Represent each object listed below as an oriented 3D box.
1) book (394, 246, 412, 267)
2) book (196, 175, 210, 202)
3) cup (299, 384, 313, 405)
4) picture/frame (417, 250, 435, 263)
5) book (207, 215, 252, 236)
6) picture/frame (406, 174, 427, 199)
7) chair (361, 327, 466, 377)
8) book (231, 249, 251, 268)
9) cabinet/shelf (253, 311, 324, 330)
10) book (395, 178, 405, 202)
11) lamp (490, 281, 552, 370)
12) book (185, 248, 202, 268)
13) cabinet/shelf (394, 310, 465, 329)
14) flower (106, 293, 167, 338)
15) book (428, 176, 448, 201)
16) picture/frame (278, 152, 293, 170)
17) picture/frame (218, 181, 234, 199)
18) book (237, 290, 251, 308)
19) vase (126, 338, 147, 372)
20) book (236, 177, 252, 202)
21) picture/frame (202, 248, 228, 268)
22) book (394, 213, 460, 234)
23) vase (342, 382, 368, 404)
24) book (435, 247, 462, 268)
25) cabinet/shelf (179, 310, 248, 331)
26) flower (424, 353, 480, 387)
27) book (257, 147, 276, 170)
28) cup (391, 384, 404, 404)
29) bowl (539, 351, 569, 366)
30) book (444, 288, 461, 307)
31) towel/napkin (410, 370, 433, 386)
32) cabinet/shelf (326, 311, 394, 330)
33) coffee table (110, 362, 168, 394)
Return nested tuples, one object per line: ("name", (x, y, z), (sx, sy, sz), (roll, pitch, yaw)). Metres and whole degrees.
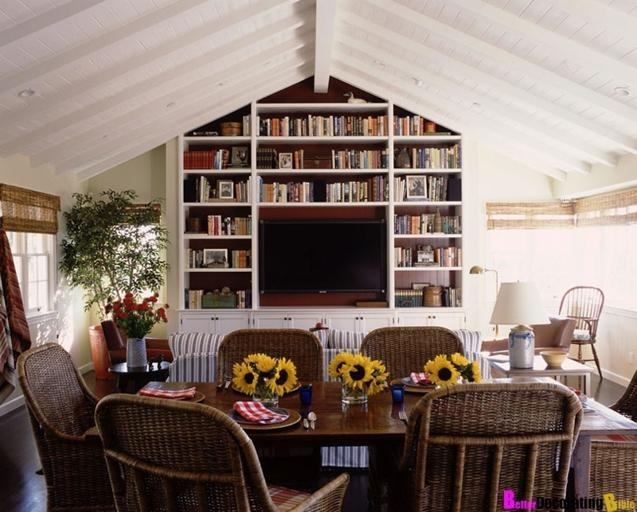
("book", (1.067, 0.002, 7.088), (0.250, 0.305, 0.234), (1, -3, 6))
("book", (-1.452, -0.822, 7.006), (0.162, 0.327, 0.138), (1, -3, -6))
("cup", (-0.064, 0.704, 2.827), (0.090, 0.088, 0.083), (0, 1, 0))
("picture/frame", (1.378, 0.010, 7.095), (0.267, 0.179, 0.145), (0, -5, -1))
("book", (-1.128, -0.376, 7.005), (0.534, 0.258, 0.164), (1, -3, -6))
("picture/frame", (1.241, -0.866, 7.023), (0.307, 0.319, 0.043), (1, 3, 0))
("chair", (0.597, 0.588, 3.540), (0.489, 0.176, 0.360), (0, -5, 0))
("book", (-0.984, 0.042, 7.003), (0.216, 0.262, 0.281), (1, 1, -6))
("cabinet/shelf", (-0.376, 0.791, 6.922), (0.895, 0.217, 0.171), (1, -2, -9))
("book", (1.044, -0.830, 7.027), (0.144, 0.297, 0.056), (2, -3, -19))
("lamp", (1.447, 0.506, 3.988), (0.386, 0.630, 0.448), (0, -3, 21))
("book", (-1.549, 0.025, 7.001), (0.220, 0.285, 0.239), (0, -3, 2))
("cabinet/shelf", (1.431, 0.779, 6.932), (0.929, 0.245, 0.187), (1, -2, -10))
("flower", (-1.743, 0.533, 5.049), (0.633, 0.413, 0.612), (-2, -8, 15))
("book", (1.514, -0.846, 7.041), (0.246, 0.300, 0.095), (0, -3, 8))
("picture/frame", (-0.417, -1.185, 6.972), (0.234, 0.250, 0.036), (1, -4, -1))
("picture/frame", (-1.169, -0.822, 6.960), (0.232, 0.256, 0.028), (1, 3, 3))
("book", (-0.937, 0.547, 6.969), (0.182, 0.223, 0.108), (1, -3, -12))
("vase", (-1.608, 0.860, 4.900), (0.176, 0.269, 0.163), (2, -3, -18))
("book", (-0.946, -0.814, 6.932), (0.269, 0.352, 0.305), (0, -1, -2))
("picture/frame", (-1.318, 0.037, 6.992), (0.248, 0.221, 0.083), (1, 0, -1))
("book", (1.404, -0.403, 7.070), (0.858, 0.283, 0.209), (0, -2, 6))
("vase", (0.178, 0.694, 2.807), (0.111, 0.101, 0.106), (1, -9, -2))
("book", (1.668, 0.018, 7.109), (0.263, 0.315, 0.338), (0, -4, 6))
("cabinet/shelf", (-1.303, 0.813, 6.922), (0.900, 0.305, 0.154), (1, -3, -5))
("flower", (0.692, 0.566, 2.798), (0.239, 0.122, 0.227), (-5, -9, 21))
("book", (-0.645, -1.197, 7.000), (0.327, 0.289, 0.226), (0, 0, -5))
("cup", (0.396, 0.683, 2.753), (0.086, 0.096, 0.090), (1, -3, 0))
("bowl", (1.785, 0.781, 4.209), (0.141, 0.076, 0.134), (0, -12, 0))
("book", (1.719, 0.532, 7.186), (0.215, 0.257, 0.277), (1, 0, 0))
("towel/napkin", (0.560, 0.671, 3.041), (0.108, 0.029, 0.103), (2, 2, 11))
("cabinet/shelf", (0.516, 0.808, 6.907), (0.861, 0.263, 0.197), (1, -2, 2))
("coffee table", (-1.635, 1.149, 4.993), (0.480, 0.320, 0.462), (0, 5, -29))
